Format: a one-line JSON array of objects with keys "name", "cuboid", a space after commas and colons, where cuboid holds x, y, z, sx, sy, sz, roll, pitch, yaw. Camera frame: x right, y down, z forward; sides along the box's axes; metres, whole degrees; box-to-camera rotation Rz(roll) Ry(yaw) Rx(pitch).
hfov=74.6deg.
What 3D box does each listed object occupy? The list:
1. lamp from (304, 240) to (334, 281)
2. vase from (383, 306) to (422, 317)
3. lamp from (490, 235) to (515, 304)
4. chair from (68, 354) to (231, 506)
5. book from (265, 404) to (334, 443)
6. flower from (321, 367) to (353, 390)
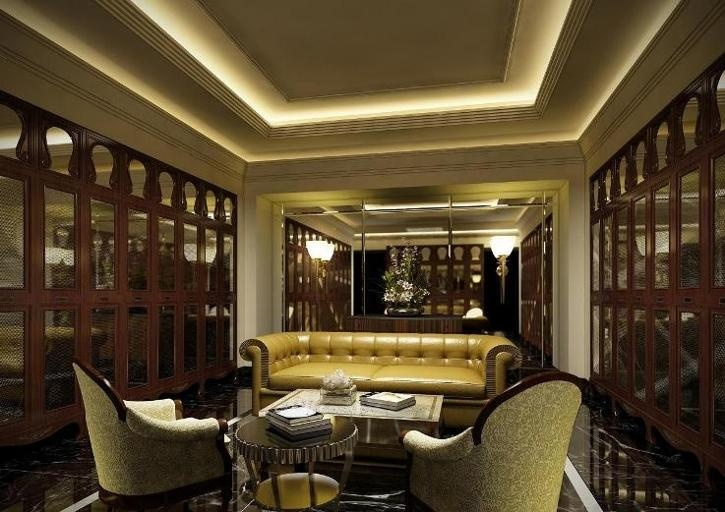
[{"name": "lamp", "cuboid": [-0.666, 0.012, 8.726, 0.425, 0.754, 0.699, 0, -6, 3]}, {"name": "vase", "cuboid": [0.567, 0.766, 6.621, 0.499, 0.138, 0.178, -2, -7, 4]}, {"name": "lamp", "cuboid": [2.336, 0.201, 7.879, 0.390, 1.074, 0.172, -3, -7, 18]}, {"name": "chair", "cuboid": [-1.667, 1.348, 3.890, 1.123, 1.357, 1.046, 0, -3, -43]}, {"name": "book", "cuboid": [-0.492, 1.282, 3.659, 0.510, 0.210, 0.346, 0, -8, -8]}, {"name": "flower", "cuboid": [-0.253, 1.218, 4.709, 0.305, 0.217, 0.288, 0, -5, 1]}]
